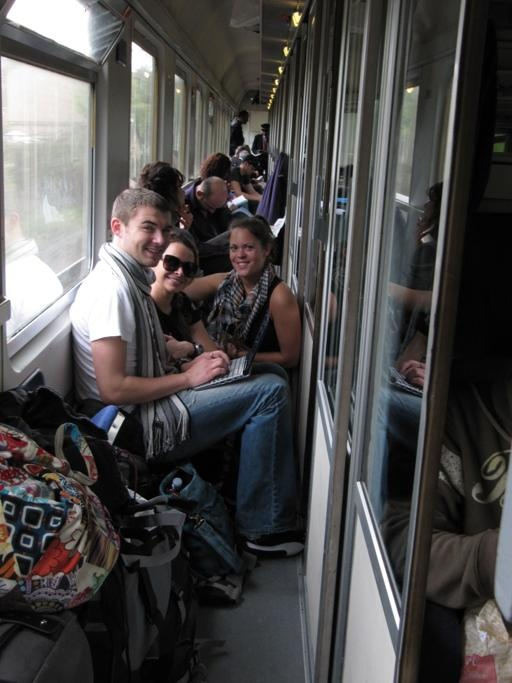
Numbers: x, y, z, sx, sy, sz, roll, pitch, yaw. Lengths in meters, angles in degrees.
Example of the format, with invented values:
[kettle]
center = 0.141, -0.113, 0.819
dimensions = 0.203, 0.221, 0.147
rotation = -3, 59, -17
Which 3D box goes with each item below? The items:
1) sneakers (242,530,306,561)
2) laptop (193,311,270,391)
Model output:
[sneakers]
center = 0.113, 1.068, 2.568
dimensions = 0.352, 0.179, 0.139
rotation = 1, -6, -14
[laptop]
center = -0.072, 0.031, 2.584
dimensions = 0.293, 0.221, 0.355
rotation = -9, 17, 32
